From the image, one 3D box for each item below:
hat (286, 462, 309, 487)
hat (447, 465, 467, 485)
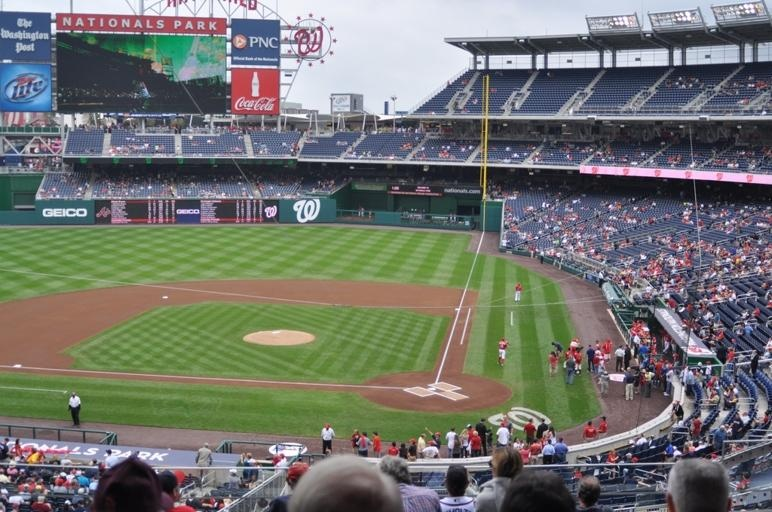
[{"bbox_3d":[-2.790,6.787,29.939,0.447,0.756,0.717,6,-12,-34],"label":"hat"},{"bbox_3d":[2.224,6.850,30.392,0.671,0.557,0.278,-1,-10,2],"label":"hat"}]
